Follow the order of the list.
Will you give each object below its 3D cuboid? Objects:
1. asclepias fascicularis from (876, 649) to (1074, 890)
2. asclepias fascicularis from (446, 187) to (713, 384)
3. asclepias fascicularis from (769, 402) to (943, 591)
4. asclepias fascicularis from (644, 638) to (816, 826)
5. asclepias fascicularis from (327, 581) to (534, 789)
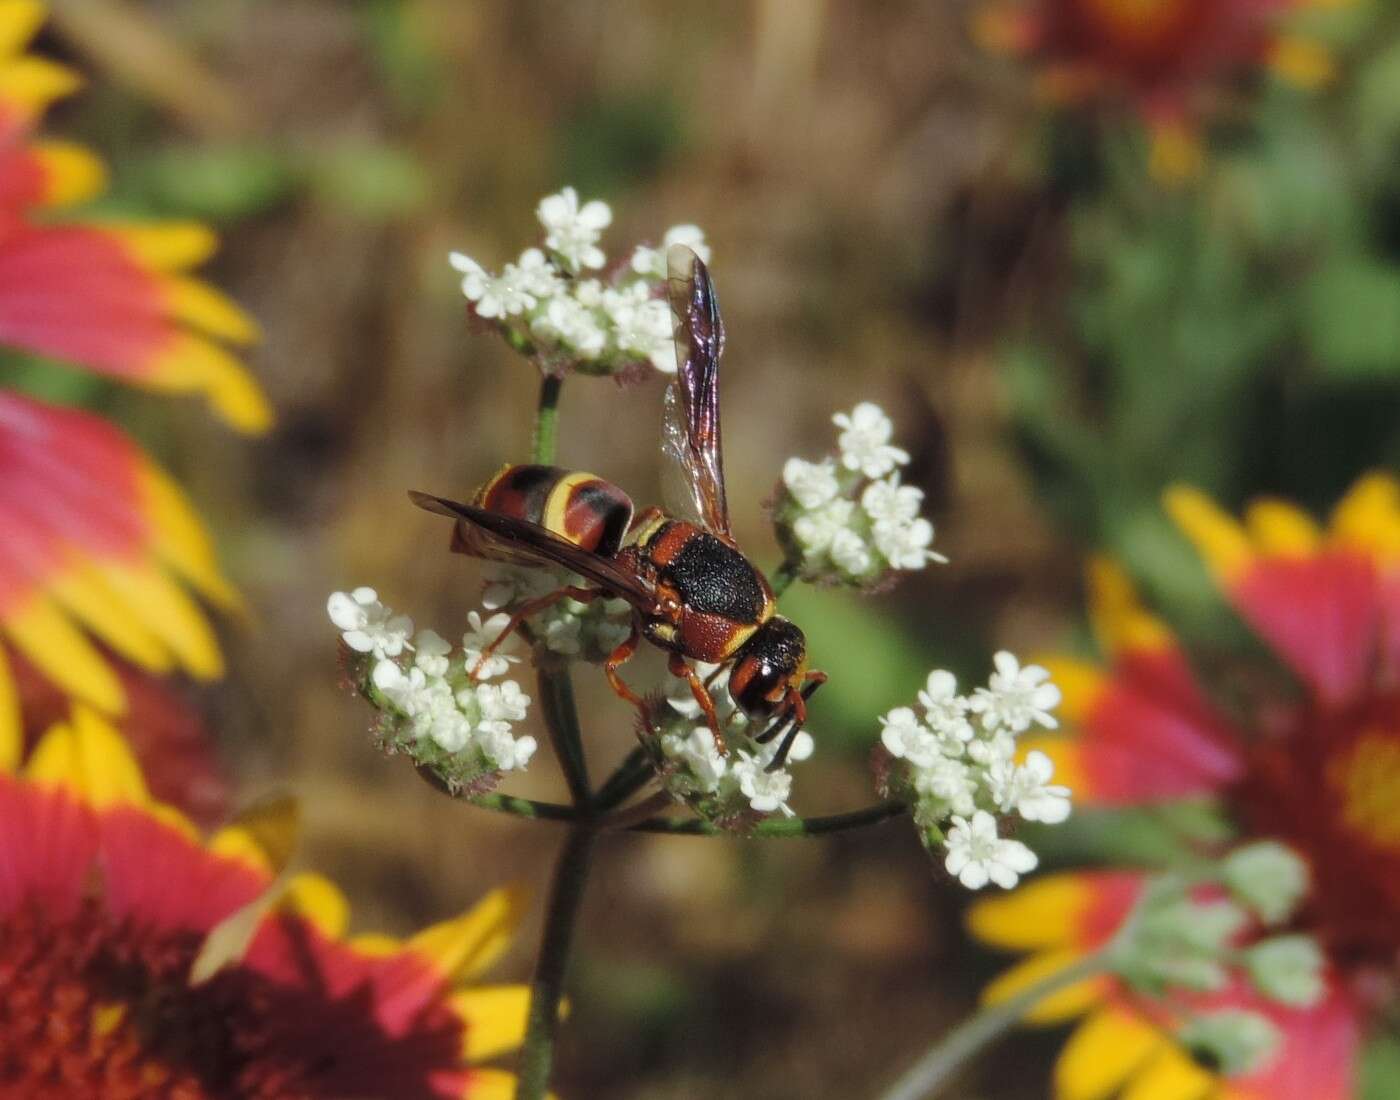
[{"bbox_3d":[0.128,0.095,0.877,0.080,0.046,0.096,-25,78,-13],"label":"asclepias fascicularis"},{"bbox_3d":[-0.056,-0.123,0.911,0.096,0.035,0.091,1,70,-36],"label":"asclepias fascicularis"},{"bbox_3d":[0.065,-0.019,0.919,0.083,0.040,0.082,5,84,8],"label":"asclepias fascicularis"},{"bbox_3d":[0.010,0.089,0.879,0.058,0.026,0.070,-21,77,-12],"label":"asclepias fascicularis"},{"bbox_3d":[-0.115,0.062,0.876,0.067,0.065,0.098,-21,77,-12],"label":"asclepias fascicularis"}]
